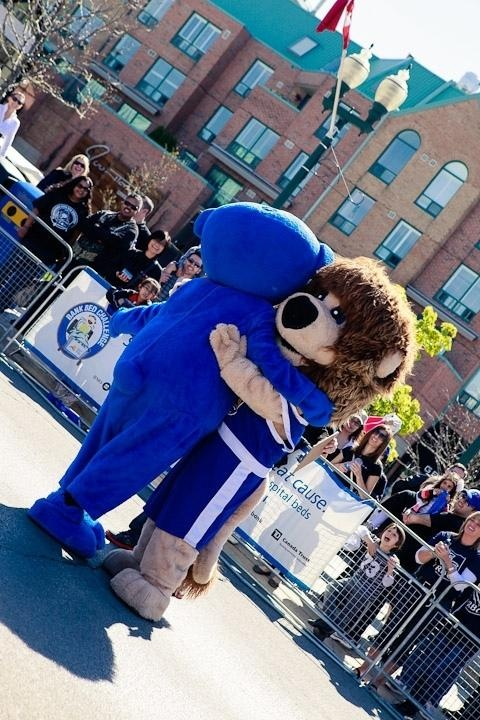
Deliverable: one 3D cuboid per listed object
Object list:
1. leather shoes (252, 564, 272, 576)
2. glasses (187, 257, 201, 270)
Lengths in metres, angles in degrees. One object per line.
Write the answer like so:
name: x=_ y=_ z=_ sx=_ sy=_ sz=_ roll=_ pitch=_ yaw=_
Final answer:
leather shoes: x=0.177 y=1.729 z=5.819 sx=0.156 sy=0.059 sz=0.064 roll=22 pitch=46 yaw=-32
glasses: x=-0.419 y=-0.918 z=6.693 sx=0.108 sy=0.097 sz=0.031 roll=11 pitch=-5 yaw=5
